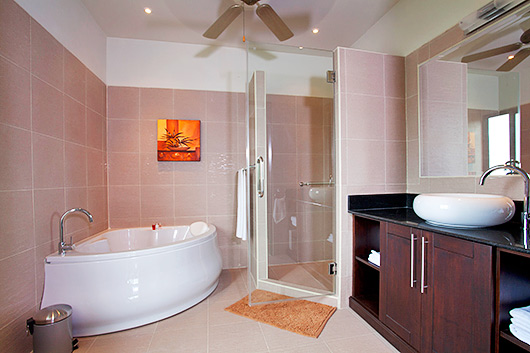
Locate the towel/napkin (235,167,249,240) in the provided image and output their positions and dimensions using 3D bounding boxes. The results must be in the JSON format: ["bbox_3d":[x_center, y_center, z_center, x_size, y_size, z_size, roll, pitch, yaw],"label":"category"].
[{"bbox_3d":[-0.273,0.341,4.104,0.094,0.726,0.547,-1,1,-26],"label":"towel/napkin"}]

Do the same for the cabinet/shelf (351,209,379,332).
[{"bbox_3d":[1.132,0.944,3.626,0.319,1.076,0.403,-3,3,-28],"label":"cabinet/shelf"}]

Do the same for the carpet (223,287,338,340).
[{"bbox_3d":[0.183,1.377,3.742,1.080,0.351,0.534,0,2,24],"label":"carpet"}]

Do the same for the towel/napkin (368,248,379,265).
[{"bbox_3d":[1.113,0.816,3.574,0.093,0.137,0.360,-1,2,7],"label":"towel/napkin"}]
